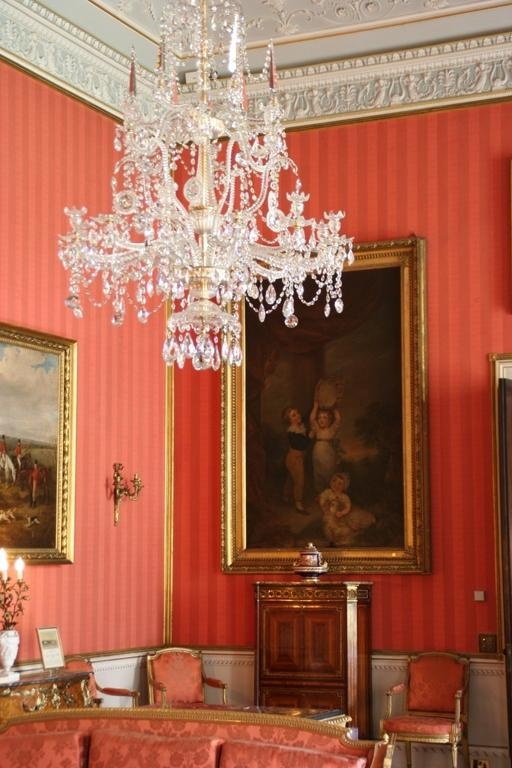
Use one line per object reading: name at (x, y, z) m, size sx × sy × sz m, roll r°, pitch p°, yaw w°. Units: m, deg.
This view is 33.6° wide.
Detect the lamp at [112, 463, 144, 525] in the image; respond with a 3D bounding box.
lamp at (-1.015, 0.878, 6.871) m, size 0.152 × 0.479 × 0.430 m, roll -7°, pitch -9°, yaw 12°

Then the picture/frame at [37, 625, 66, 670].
picture/frame at (-1.284, 1.666, 5.363) m, size 0.136 × 0.267 × 0.331 m, roll -5°, pitch -9°, yaw 1°
